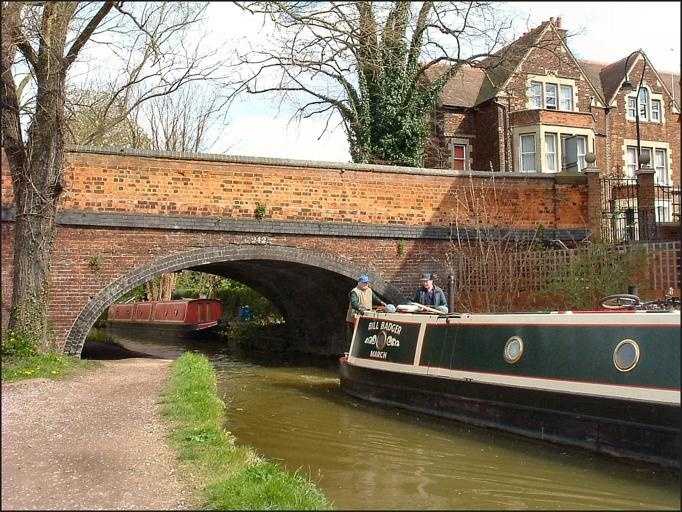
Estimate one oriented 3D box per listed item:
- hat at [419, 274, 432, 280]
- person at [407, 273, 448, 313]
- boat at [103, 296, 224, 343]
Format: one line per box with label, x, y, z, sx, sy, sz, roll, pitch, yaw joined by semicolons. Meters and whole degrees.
hat;1.872;0.466;16.376;0.197;0.116;0.270;1;0;9
person;1.903;0.839;16.701;0.701;0.968;0.483;-6;-8;42
boat;-8.442;3.079;34.016;2.201;1.846;10.392;4;-7;-34
